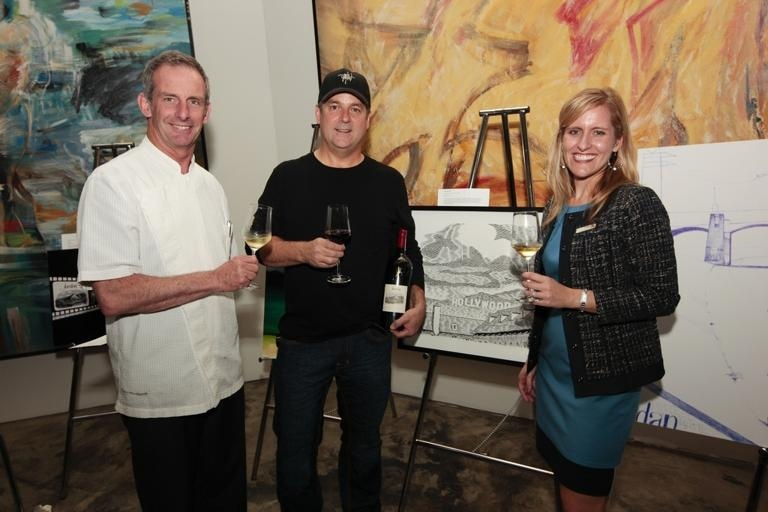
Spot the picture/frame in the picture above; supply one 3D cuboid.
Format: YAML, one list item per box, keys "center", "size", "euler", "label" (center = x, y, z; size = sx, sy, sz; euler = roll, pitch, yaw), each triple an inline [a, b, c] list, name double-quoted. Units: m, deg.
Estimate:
- center: [0.598, 0.185, 3.578]
  size: [1.119, 1.124, 0.048]
  euler: [2, 1, 24]
  label: "picture/frame"

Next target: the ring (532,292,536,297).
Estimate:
- center: [0.807, 0.203, 2.896]
  size: [0.024, 0.023, 0.006]
  euler: [8, 2, 6]
  label: "ring"

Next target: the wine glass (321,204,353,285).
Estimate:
- center: [-0.271, -0.068, 3.233]
  size: [0.150, 0.484, 0.217]
  euler: [-2, 9, -5]
  label: "wine glass"

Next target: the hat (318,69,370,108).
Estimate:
- center: [-0.279, -1.148, 3.597]
  size: [0.396, 0.273, 0.534]
  euler: [-1, 25, -10]
  label: "hat"

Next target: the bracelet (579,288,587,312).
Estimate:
- center: [1.077, 0.235, 2.910]
  size: [0.041, 0.099, 0.035]
  euler: [2, 10, 20]
  label: "bracelet"
